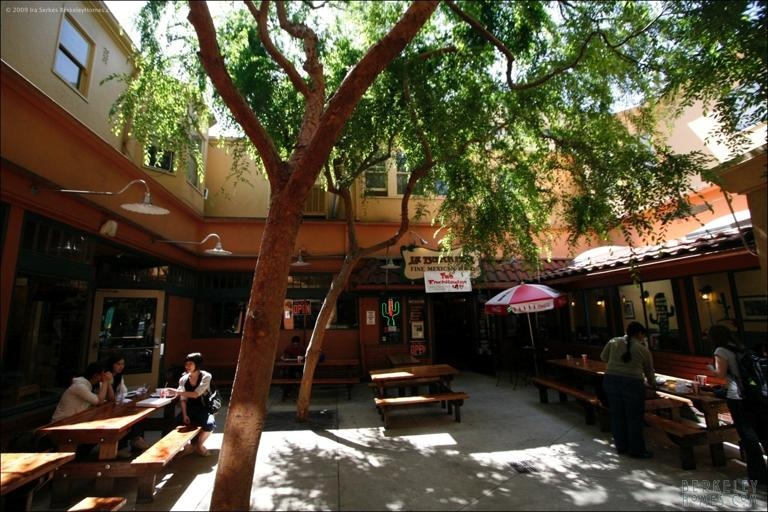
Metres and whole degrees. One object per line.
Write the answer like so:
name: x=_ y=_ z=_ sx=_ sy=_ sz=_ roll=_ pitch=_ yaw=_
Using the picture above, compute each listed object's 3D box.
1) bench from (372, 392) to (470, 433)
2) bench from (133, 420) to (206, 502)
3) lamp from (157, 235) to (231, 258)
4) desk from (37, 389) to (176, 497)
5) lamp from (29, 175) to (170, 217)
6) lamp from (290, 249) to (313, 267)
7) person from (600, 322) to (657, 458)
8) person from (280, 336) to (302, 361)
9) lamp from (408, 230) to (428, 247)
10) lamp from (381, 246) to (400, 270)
bench: x=0.838 y=3.562 z=9.801 sx=2.021 sy=0.790 sz=1.704 roll=-1 pitch=1 yaw=-2
bench: x=-3.639 y=3.341 z=6.632 sx=0.609 sy=0.491 sz=2.207 roll=3 pitch=-2 yaw=-2
lamp: x=-5.598 y=-0.334 z=12.192 sx=2.483 sy=0.698 sz=0.913 roll=2 pitch=2 yaw=-5
desk: x=-4.415 y=3.096 z=6.571 sx=1.649 sy=0.458 sz=1.770 roll=2 pitch=-7 yaw=-10
lamp: x=-5.273 y=-1.297 z=7.966 sx=2.492 sy=0.719 sz=0.922 roll=3 pitch=1 yaw=-20
lamp: x=-2.682 y=0.115 z=13.302 sx=0.742 sy=0.612 sz=0.700 roll=0 pitch=-8 yaw=5
person: x=4.617 y=2.507 z=7.627 sx=0.809 sy=1.895 sz=0.527 roll=-1 pitch=0 yaw=29
person: x=-2.724 y=2.759 z=12.102 sx=0.608 sy=0.685 sz=0.898 roll=-1 pitch=1 yaw=-12
lamp: x=1.221 y=-0.588 z=14.117 sx=0.600 sy=0.469 sz=1.260 roll=-1 pitch=1 yaw=3
lamp: x=0.216 y=0.178 z=13.412 sx=0.705 sy=0.665 sz=0.716 roll=2 pitch=-13 yaw=-12
